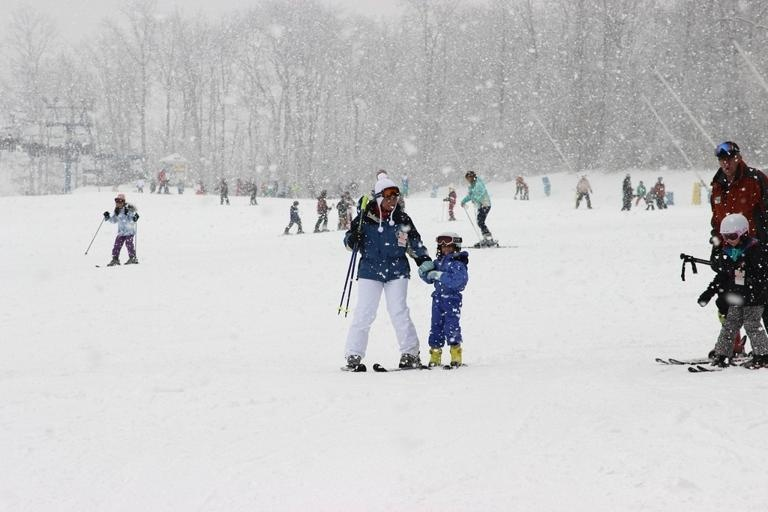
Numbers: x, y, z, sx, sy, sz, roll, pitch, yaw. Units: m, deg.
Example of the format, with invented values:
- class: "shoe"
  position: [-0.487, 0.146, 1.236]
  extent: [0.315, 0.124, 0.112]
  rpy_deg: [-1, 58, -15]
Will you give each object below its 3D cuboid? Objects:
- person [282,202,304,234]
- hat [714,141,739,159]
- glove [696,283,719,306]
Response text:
- class: "person"
  position: [-4.382, -1.979, 47.681]
  extent: [0.853, 1.701, 3.184]
  rpy_deg: [-4, 15, -4]
- class: "hat"
  position: [11.117, -3.390, 31.830]
  extent: [0.482, 0.565, 0.684]
  rpy_deg: [-9, -27, 27]
- class: "glove"
  position: [10.335, 1.270, 31.650]
  extent: [0.444, 0.795, 0.188]
  rpy_deg: [36, 8, 5]
